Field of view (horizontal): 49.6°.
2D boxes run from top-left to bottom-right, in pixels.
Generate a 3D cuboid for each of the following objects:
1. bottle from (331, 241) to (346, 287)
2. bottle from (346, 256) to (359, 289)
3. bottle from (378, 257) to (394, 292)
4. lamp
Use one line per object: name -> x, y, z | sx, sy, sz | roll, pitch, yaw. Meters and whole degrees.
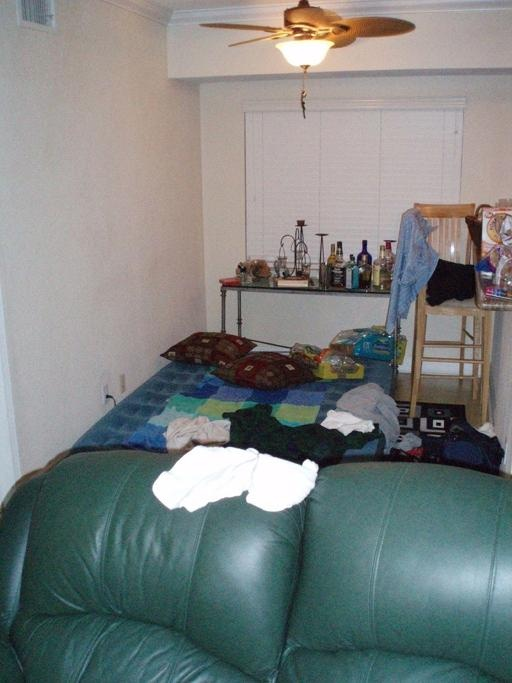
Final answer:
bottle -> 0.629, -0.579, 4.195 | 0.110, 0.337, 0.286 | -6, 10, 19
bottle -> 0.726, -0.519, 4.181 | 0.123, 0.243, 0.278 | -8, 10, 10
bottle -> 0.990, -0.512, 4.162 | 0.108, 0.245, 0.323 | -5, 11, 24
lamp -> 0.267, -1.414, 3.023 | 0.327, 0.355, 0.323 | -15, 23, -42
